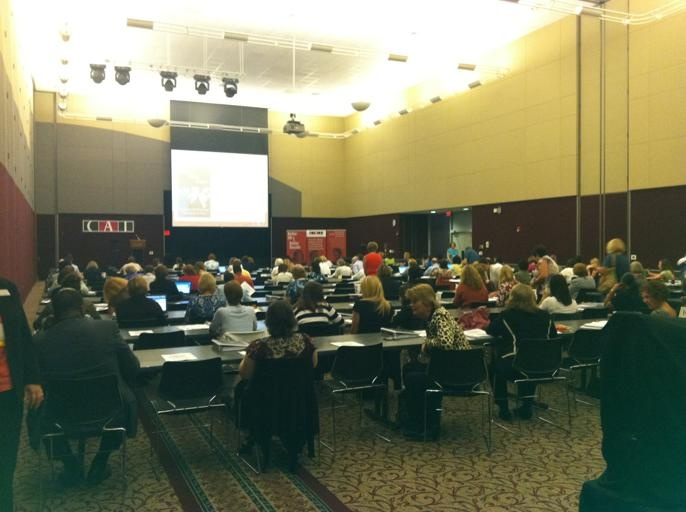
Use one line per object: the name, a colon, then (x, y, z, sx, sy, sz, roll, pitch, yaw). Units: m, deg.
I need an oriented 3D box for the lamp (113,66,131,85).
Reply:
lamp: (-5.523, -4.498, 15.671, 0.364, 0.415, 0.806, -3, 11, -19)

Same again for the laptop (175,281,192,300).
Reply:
laptop: (-2.855, 0.603, 11.040, 0.383, 0.346, 0.379, 2, -6, -19)

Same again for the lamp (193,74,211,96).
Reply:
lamp: (-3.715, -4.517, 16.518, 0.386, 0.492, 0.936, -2, 11, -12)

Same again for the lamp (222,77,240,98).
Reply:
lamp: (-3.076, -4.567, 16.993, 0.385, 0.500, 0.760, -2, 11, -15)

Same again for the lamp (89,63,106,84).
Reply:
lamp: (-6.068, -4.505, 15.461, 0.325, 0.428, 0.329, -3, 11, -18)

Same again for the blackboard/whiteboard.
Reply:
blackboard/whiteboard: (-4.824, -1.068, 23.176, 2.667, 3.063, 0.130, -2, 9, -10)

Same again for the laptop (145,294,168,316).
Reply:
laptop: (-2.709, 0.717, 9.159, 0.328, 0.352, 0.273, 2, -4, -31)

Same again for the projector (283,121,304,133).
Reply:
projector: (-1.316, -3.431, 16.854, 0.411, 0.303, 0.412, -1, 4, -31)
